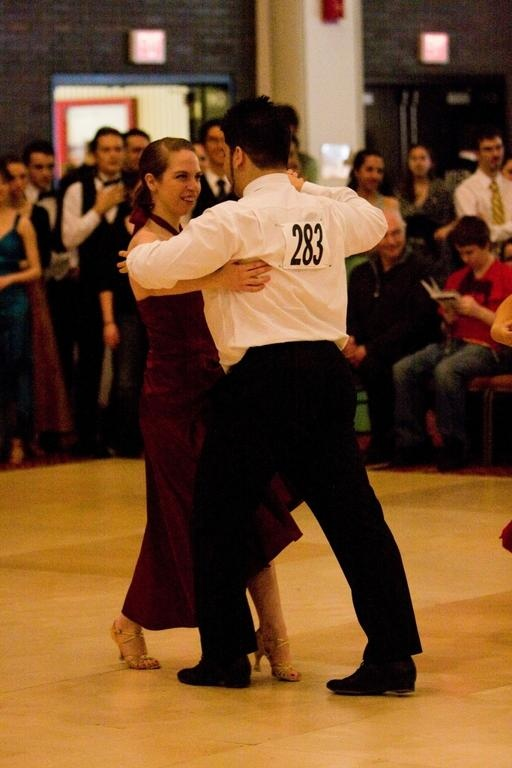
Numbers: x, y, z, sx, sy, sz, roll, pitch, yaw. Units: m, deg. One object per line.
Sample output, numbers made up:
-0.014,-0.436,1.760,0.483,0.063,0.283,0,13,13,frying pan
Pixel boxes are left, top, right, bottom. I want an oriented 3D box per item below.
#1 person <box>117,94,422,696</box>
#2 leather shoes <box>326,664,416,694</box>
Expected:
0.028,0.035,1.785,0.592,1.286,0.382,-1,-3,-9,person
0.250,0.628,1.780,0.200,0.084,0.068,0,-9,8,leather shoes
